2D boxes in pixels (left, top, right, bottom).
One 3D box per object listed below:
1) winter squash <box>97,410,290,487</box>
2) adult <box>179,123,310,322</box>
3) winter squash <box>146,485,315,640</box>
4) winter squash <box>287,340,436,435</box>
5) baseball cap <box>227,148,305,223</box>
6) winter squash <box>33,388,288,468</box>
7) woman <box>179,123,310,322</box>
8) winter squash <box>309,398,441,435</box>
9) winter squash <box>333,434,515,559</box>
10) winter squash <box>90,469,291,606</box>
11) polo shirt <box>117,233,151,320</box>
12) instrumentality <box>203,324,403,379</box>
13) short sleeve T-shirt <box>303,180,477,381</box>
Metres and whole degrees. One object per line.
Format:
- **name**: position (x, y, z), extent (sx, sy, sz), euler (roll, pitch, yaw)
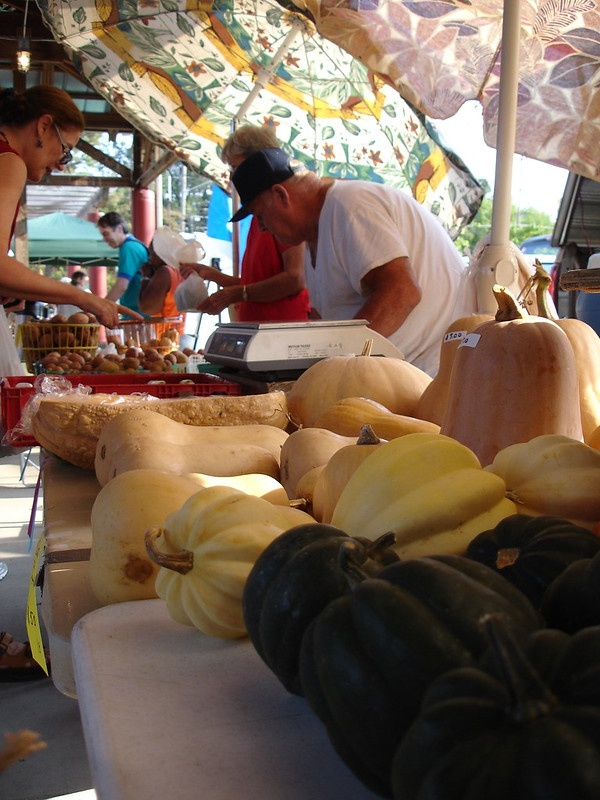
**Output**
- **winter squash**: position (-0.213, 0.097, 1.289), extent (0.369, 0.121, 0.184), euler (3, 7, -20)
- **adult**: position (-0.316, -0.902, 4.425), extent (0.854, 1.350, 0.796), euler (5, 3, -28)
- **winter squash**: position (-0.059, 0.181, 0.759), extent (0.233, 0.153, 0.168), euler (4, -9, -1)
- **winter squash**: position (0.145, -0.030, 1.597), extent (0.268, 0.206, 0.247), euler (1, 0, 21)
- **baseball cap**: position (-0.181, -1.024, 3.018), extent (0.180, 0.348, 0.240), euler (47, 15, -18)
- **winter squash**: position (-0.358, 0.016, 1.521), extent (0.450, 0.130, 0.253), euler (-5, 5, -18)
- **woman**: position (-0.285, -0.908, 4.416), extent (0.855, 1.369, 0.827), euler (2, 3, -29)
- **winter squash**: position (0.139, 0.019, 1.313), extent (0.293, 0.077, 0.088), euler (6, 0, 30)
- **winter squash**: position (0.128, 0.097, 0.641), extent (0.164, 0.090, 0.118), euler (-13, 10, -21)
- **winter squash**: position (-0.177, 0.177, 0.919), extent (0.347, 0.198, 0.202), euler (-1, 57, -16)
- **polo shirt**: position (-2.209, -1.831, 8.262), extent (0.462, 1.022, 0.254), euler (-9, 50, -18)
- **instrumentality**: position (0.000, -0.179, 2.058), extent (0.372, 0.099, 0.322), euler (-5, 9, -18)
- **short sleeve T-shirt**: position (0.301, -0.692, 3.154), extent (0.610, 0.910, 0.813), euler (-17, 29, -7)
